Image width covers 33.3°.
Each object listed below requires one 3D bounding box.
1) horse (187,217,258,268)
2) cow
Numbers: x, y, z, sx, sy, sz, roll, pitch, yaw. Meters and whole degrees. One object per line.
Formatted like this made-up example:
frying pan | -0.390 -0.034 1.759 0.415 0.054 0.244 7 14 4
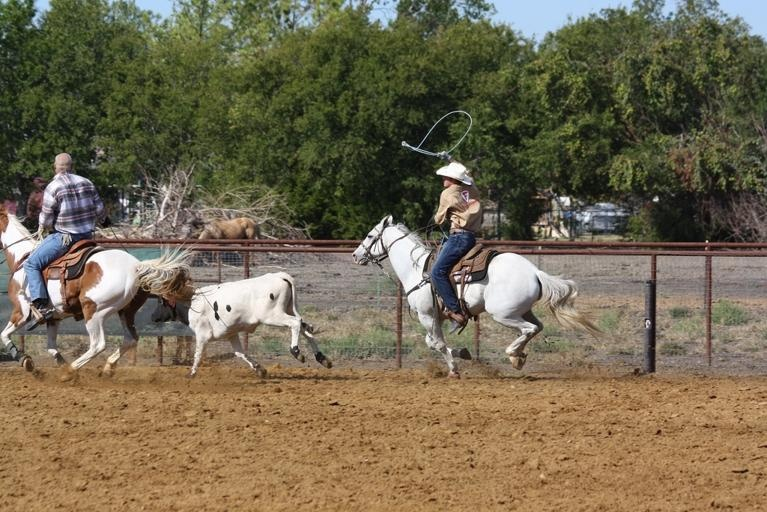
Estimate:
horse | -6.501 -0.656 52.505 3.018 1.608 0.748 -7 8 -21
cow | -4.951 2.412 41.714 5.636 2.609 2.101 -8 -11 36
